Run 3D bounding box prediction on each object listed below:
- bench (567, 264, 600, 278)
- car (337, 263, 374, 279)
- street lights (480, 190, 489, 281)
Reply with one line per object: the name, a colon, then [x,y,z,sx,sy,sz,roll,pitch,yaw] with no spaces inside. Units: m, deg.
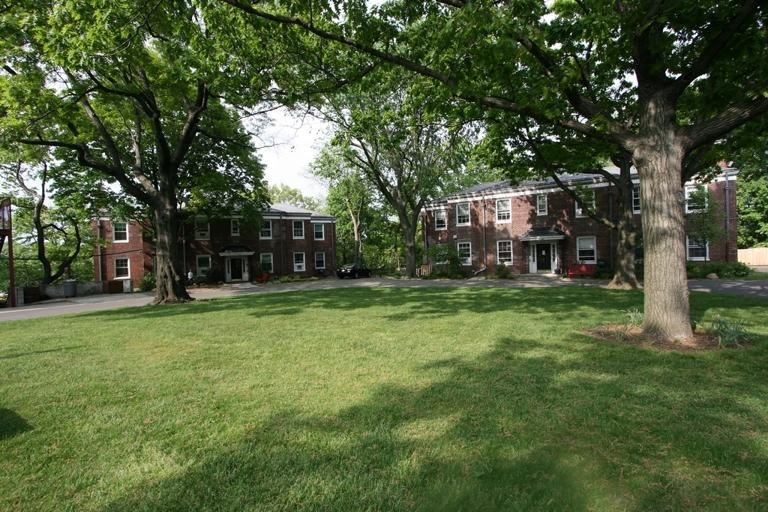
bench: [11.824,0.881,34.547,1.723,0.656,1.825,-1,5,15]
car: [-2.160,1.187,43.362,0.921,1.010,2.767,2,7,37]
street lights: [6.858,-1.459,39.410,0.365,5.104,0.767,-1,6,10]
